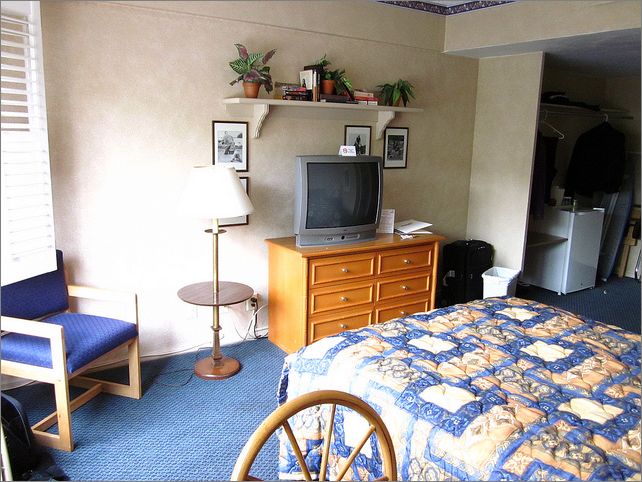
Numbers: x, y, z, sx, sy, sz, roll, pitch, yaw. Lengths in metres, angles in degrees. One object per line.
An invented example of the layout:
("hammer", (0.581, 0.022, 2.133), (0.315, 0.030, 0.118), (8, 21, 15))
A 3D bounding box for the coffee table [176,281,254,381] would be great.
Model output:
("coffee table", (-0.807, 0.717, 3.824), (0.580, 0.595, 0.555), (-1, 5, -25))

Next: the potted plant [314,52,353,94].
("potted plant", (0.107, -1.447, 4.278), (0.346, 0.358, 0.341), (-3, 14, -9))

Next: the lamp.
("lamp", (-0.741, -0.249, 3.512), (0.521, 0.977, 0.501), (-10, 16, -38))

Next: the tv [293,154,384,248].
("tv", (0.122, -0.327, 4.048), (0.706, 0.621, 0.393), (-7, 16, -25))

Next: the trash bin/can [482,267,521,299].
("trash bin/can", (1.749, 0.411, 4.834), (0.285, 0.292, 0.268), (-6, 11, -36))

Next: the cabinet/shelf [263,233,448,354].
("cabinet/shelf", (0.320, 0.431, 4.402), (1.496, 0.879, 0.593), (-6, 14, -33))

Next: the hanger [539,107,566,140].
("hanger", (2.596, -1.371, 5.703), (0.492, 0.288, 0.031), (2, 15, -25))

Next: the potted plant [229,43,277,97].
("potted plant", (-0.524, -1.362, 3.958), (0.434, 0.321, 0.405), (1, 8, 1))

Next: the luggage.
("luggage", (1.507, 0.371, 5.199), (0.480, 0.700, 0.406), (-5, 11, -30))

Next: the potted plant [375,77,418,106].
("potted plant", (0.716, -1.373, 4.582), (0.319, 0.198, 0.308), (1, 16, 4))

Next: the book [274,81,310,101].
("book", (-0.245, -1.246, 4.099), (0.305, 0.160, 0.238), (-7, 15, -27))
